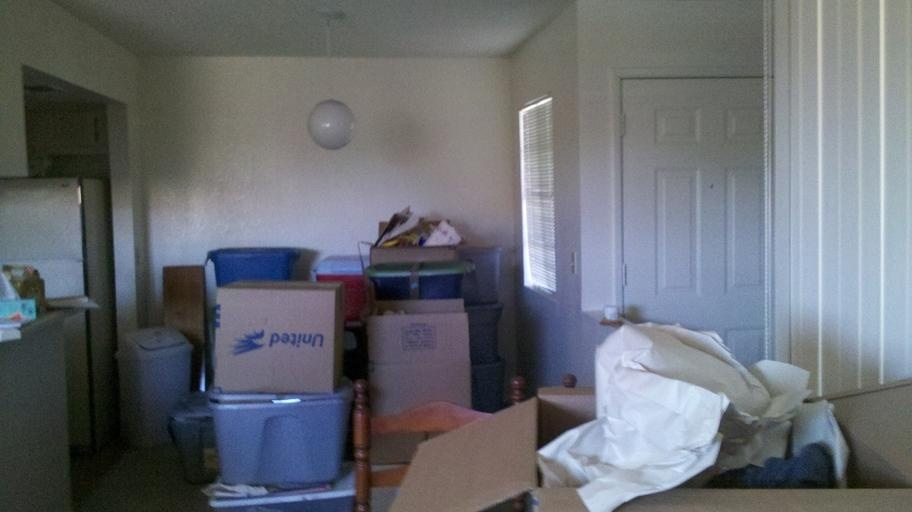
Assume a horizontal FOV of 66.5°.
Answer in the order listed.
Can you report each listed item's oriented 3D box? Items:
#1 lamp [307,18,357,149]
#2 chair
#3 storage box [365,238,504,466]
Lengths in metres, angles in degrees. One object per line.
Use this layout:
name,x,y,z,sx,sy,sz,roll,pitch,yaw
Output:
lamp,-0.819,-1.116,4.530,0.270,0.877,0.797,-4,4,-8
chair,-0.078,0.837,3.181,0.745,0.472,0.684,0,3,-2
storage box,-0.207,0.581,5.106,1.394,1.812,1.300,0,-1,-5
